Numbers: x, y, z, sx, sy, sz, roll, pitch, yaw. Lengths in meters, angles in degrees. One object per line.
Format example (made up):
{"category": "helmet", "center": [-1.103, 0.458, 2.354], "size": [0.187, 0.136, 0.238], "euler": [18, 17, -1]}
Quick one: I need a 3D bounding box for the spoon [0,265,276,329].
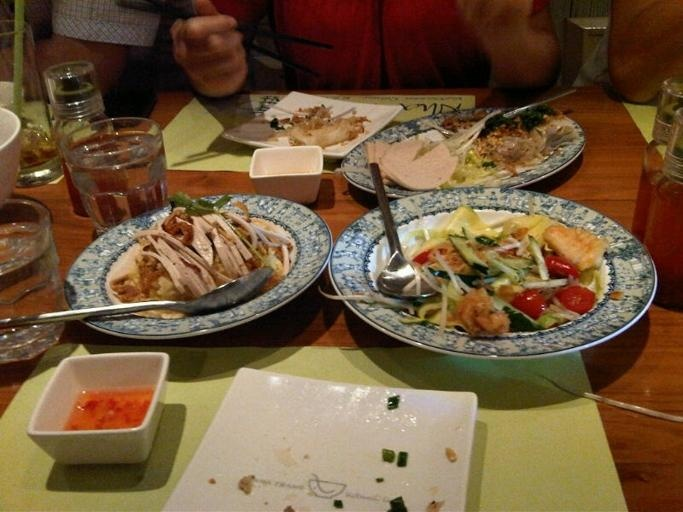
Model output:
{"category": "spoon", "center": [-0.513, 0.115, 1.365], "size": [0.667, 0.057, 0.102], "euler": [-7, 9, -14]}

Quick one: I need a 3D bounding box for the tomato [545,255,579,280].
{"category": "tomato", "center": [0.547, 0.035, 1.357], "size": [0.071, 0.031, 0.050], "euler": [16, 33, 31]}

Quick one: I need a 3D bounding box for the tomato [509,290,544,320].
{"category": "tomato", "center": [0.439, 0.120, 1.272], "size": [0.085, 0.060, 0.070], "euler": [-8, 5, -27]}

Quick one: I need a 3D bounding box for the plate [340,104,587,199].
{"category": "plate", "center": [0.470, -0.392, 2.023], "size": [0.778, 0.082, 0.468], "euler": [-10, 34, 0]}

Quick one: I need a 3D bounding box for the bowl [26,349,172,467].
{"category": "bowl", "center": [-0.476, 0.315, 1.110], "size": [0.254, 0.096, 0.243], "euler": [-2, 27, 1]}
